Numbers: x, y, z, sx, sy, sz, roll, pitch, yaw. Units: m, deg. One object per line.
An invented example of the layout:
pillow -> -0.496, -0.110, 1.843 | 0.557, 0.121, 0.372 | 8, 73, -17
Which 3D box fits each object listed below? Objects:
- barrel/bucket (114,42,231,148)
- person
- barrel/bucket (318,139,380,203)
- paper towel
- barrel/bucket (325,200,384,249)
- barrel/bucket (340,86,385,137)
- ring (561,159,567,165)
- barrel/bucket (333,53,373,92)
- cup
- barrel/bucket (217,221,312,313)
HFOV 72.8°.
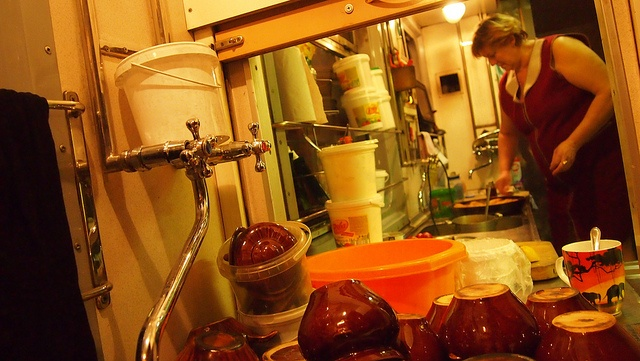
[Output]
barrel/bucket -> -0.369, -0.222, 1.369 | 0.327, 0.273, 0.325 | -22, -3, -1
person -> 0.906, -0.176, 1.794 | 0.319, 1.048, 0.542 | -13, 5, -9
barrel/bucket -> 0.121, -0.036, 1.815 | 0.249, 0.196, 0.246 | -13, -4, -1
paper towel -> -0.087, -0.415, 1.943 | 0.248, 0.332, 0.355 | -13, 21, 13
barrel/bucket -> 0.134, 0.159, 1.808 | 0.216, 0.186, 0.203 | -16, 0, 0
barrel/bucket -> 0.205, -0.343, 2.297 | 0.221, 0.203, 0.219 | -20, -2, -1
ring -> 0.954, -0.071, 1.689 | 0.015, 0.012, 0.012 | -55, 31, -5
barrel/bucket -> 0.176, -0.555, 2.287 | 0.196, 0.144, 0.196 | -21, 3, 1
cup -> 0.832, 0.304, 1.297 | 0.154, 0.237, 0.078 | -11, 6, 17
barrel/bucket -> -0.155, 0.262, 1.320 | 0.291, 0.239, 0.184 | -12, 5, -5
